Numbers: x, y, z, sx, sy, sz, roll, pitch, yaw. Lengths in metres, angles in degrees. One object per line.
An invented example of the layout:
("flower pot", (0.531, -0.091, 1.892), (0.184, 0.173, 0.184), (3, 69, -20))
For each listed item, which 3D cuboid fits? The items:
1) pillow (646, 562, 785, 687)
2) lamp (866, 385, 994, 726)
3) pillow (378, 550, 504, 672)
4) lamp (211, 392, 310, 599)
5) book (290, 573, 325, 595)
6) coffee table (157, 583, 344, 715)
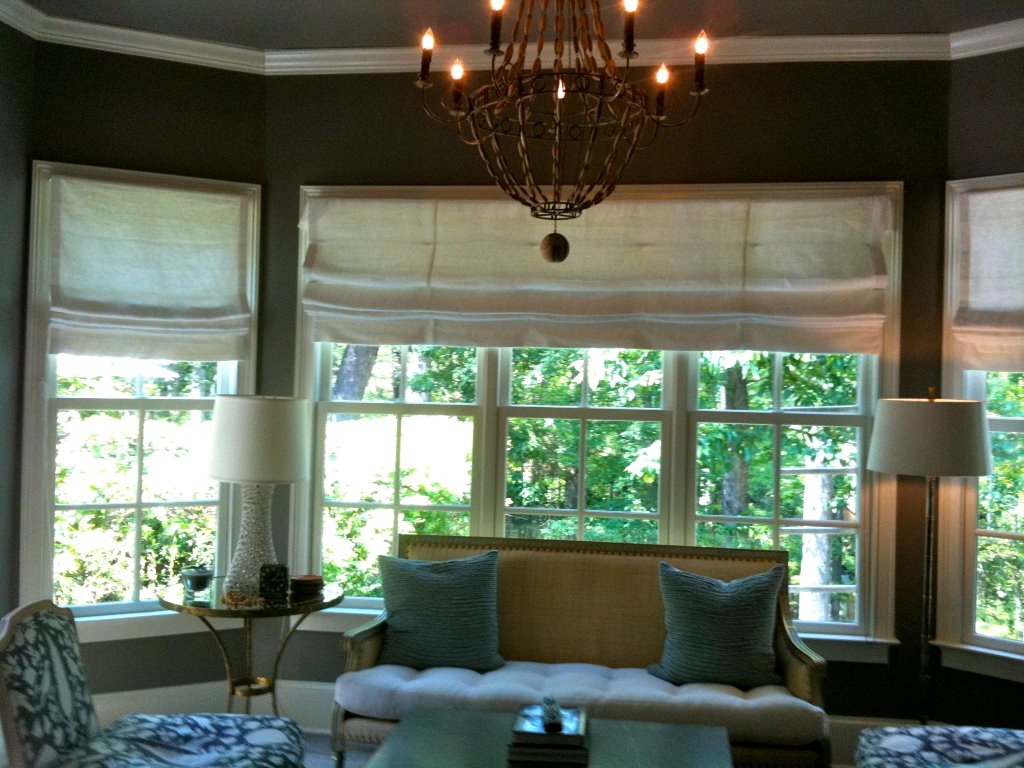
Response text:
("pillow", (1.011, 1.193, 5.233), (0.497, 0.460, 0.194), (2, -18, 8))
("lamp", (2.132, 0.871, 5.393), (0.570, 1.642, 0.520), (-2, -5, 19))
("pillow", (-0.374, 1.144, 5.445), (0.617, 0.603, 0.242), (-1, -10, -4))
("lamp", (-1.274, 0.561, 5.407), (0.444, 1.002, 0.303), (4, -6, -44))
("book", (-1.042, 1.007, 5.403), (0.099, 0.062, 0.102), (2, -2, 15))
("coffee table", (-1.337, 1.518, 5.463), (0.764, 0.853, 0.755), (-4, -7, 8))
